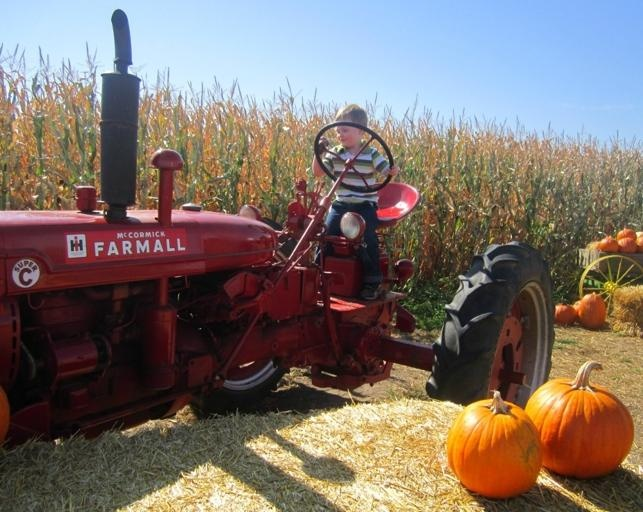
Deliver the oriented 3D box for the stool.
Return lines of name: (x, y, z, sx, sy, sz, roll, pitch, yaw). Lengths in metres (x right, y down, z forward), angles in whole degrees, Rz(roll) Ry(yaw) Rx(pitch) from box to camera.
stool: (0.615, -0.338, 4.305, 0.476, 0.694, 0.646, 9, 0, 32)

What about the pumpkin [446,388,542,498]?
pumpkin: (0.773, 0.792, 2.315, 0.390, 0.438, 0.381, 4, 3, 44)

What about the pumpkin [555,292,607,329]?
pumpkin: (3.784, 0.799, 7.309, 0.554, 0.309, 0.369, -11, 27, 30)

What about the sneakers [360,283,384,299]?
sneakers: (0.380, 0.273, 3.745, 0.075, 0.101, 0.214, -2, -4, 33)

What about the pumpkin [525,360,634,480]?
pumpkin: (1.268, 0.746, 2.573, 0.488, 0.578, 0.488, 0, 2, -42)
